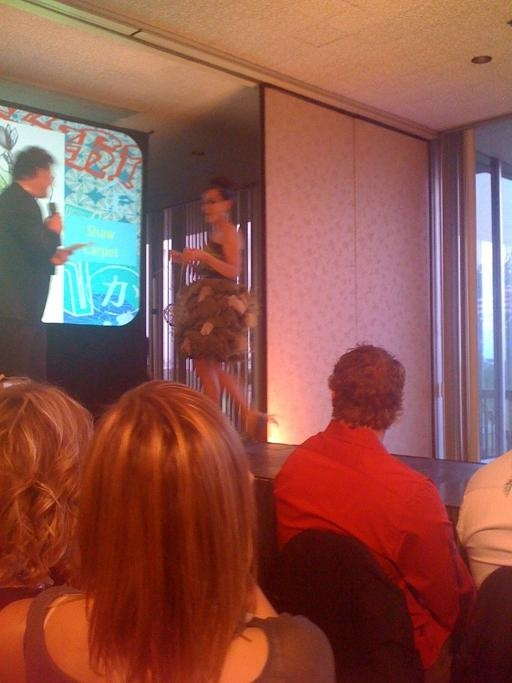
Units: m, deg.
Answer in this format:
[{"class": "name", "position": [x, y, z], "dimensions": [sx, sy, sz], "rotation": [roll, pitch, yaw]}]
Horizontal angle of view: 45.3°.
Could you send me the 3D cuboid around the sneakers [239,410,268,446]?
[{"class": "sneakers", "position": [-0.014, 0.515, 3.628], "dimensions": [0.170, 0.314, 0.179], "rotation": [1, -4, -8]}]
